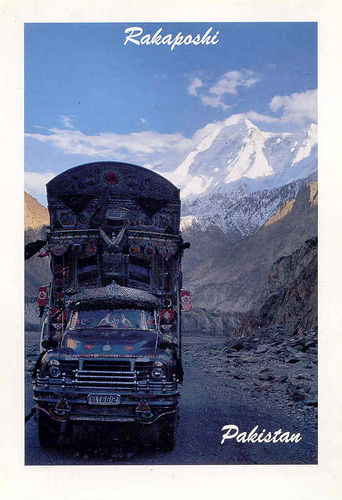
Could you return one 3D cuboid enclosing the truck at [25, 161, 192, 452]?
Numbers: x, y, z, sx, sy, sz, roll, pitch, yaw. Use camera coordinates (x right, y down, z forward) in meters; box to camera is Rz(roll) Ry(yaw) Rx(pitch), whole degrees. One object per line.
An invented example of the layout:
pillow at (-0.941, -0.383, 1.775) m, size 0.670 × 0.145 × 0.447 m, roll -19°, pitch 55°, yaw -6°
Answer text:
truck at (-1.055, 0.866, 12.197) m, size 2.717 × 4.002 × 4.110 m, roll -5°, pitch 3°, yaw 2°
